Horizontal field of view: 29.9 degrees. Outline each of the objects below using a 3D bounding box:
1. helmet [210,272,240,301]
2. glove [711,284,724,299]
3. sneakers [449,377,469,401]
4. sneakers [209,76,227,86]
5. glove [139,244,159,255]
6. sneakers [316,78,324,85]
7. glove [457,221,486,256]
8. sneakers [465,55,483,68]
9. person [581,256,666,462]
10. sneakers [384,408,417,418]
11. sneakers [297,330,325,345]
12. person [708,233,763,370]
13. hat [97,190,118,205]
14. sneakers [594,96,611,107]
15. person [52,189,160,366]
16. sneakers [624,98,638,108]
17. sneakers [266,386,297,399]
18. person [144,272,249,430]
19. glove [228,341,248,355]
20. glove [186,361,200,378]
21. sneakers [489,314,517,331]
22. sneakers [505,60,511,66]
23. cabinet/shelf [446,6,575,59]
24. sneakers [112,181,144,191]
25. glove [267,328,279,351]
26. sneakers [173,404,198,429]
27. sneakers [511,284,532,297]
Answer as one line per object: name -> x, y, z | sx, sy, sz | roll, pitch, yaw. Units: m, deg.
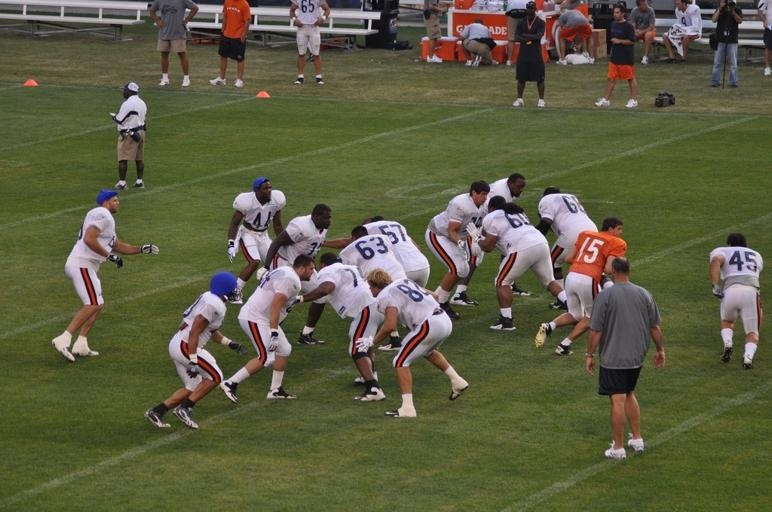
helmet -> -2.106, 0.385, 19.065 | 0.397, 0.358, 0.472 | 7, 10, 18
glove -> 4.686, 0.486, 20.319 | 0.157, 0.076, 0.209 | 10, 7, 0
sneakers -> 1.000, 1.788, 19.512 | 0.305, 0.311, 0.102 | 36, 43, -9
sneakers -> -3.916, -4.088, 34.036 | 0.469, 0.175, 0.154 | 4, 24, 4
glove -> -3.353, -0.091, 20.822 | 0.260, 0.103, 0.266 | 3, -1, 15
sneakers -> -1.538, -4.085, 34.086 | 0.159, 0.128, 0.377 | -2, 10, -3
glove -> 1.408, -0.248, 21.898 | 0.143, 0.424, 0.498 | -26, 27, -29
sneakers -> 2.300, -4.940, 37.042 | 0.211, 0.196, 0.504 | 9, 0, -17
person -> 3.053, 1.279, 18.392 | 0.767, 2.508, 0.599 | -8, 13, -35
sneakers -> 0.208, 2.059, 19.258 | 0.479, 0.131, 0.141 | 3, -2, 10
sneakers -> -1.091, 1.208, 21.112 | 0.446, 0.181, 0.149 | 0, 6, -3
person -> 4.915, 0.624, 20.262 | 0.694, 1.815, 0.611 | 5, 12, 24
hat -> -4.021, -0.848, 20.810 | 0.287, 0.225, 0.194 | -19, 16, 3
sneakers -> 4.776, -3.301, 31.343 | 0.462, 0.158, 0.148 | 2, 12, 6
person -> -4.149, 0.236, 20.900 | 1.343, 2.367, 1.514 | -1, 10, -6
sneakers -> 5.355, -3.276, 31.379 | 0.158, 0.139, 0.391 | 2, 7, 27
sneakers -> -1.426, 1.845, 19.602 | 0.482, 0.153, 0.140 | -2, 5, -4
person -> -2.503, 1.236, 18.952 | 1.324, 2.037, 0.553 | -7, 13, -34
glove -> -1.973, 1.233, 19.499 | 0.213, 0.096, 0.253 | 14, -1, 1
glove -> -2.493, 1.463, 18.852 | 0.118, 0.219, 0.136 | -1, 11, -8
sneakers -> 1.680, 1.003, 21.534 | 0.524, 0.241, 0.156 | 2, 3, 12
sneakers -> 3.198, -4.950, 37.328 | 0.184, 0.129, 0.134 | 0, -2, 3
cabinet/shelf -> 2.787, -5.948, 38.207 | 2.676, 0.925, 1.668 | 5, 16, 19
sneakers -> -4.745, -1.287, 26.746 | 0.617, 0.194, 0.180 | 1, 0, -9
glove -> -1.464, 1.109, 19.250 | 0.133, 0.255, 0.208 | 4, -19, 13
sneakers -> -2.622, 2.091, 18.918 | 0.202, 0.367, 0.124 | -41, 12, 11
sneakers -> 2.224, 0.541, 22.767 | 0.498, 0.170, 0.152 | 5, 11, 5
